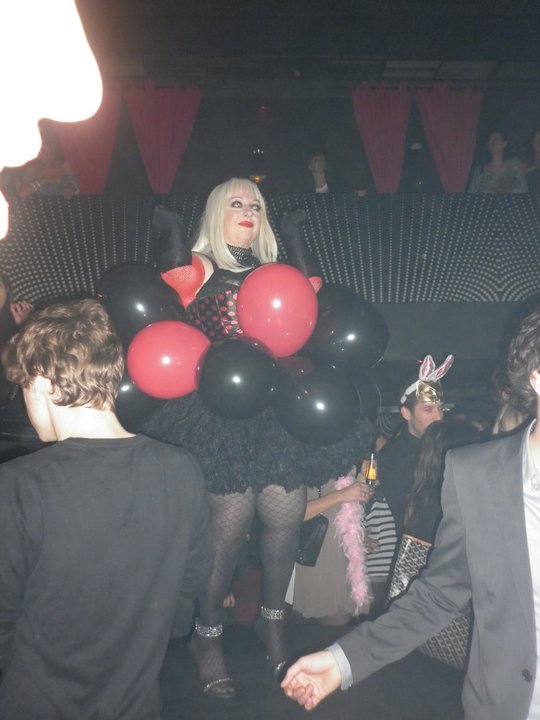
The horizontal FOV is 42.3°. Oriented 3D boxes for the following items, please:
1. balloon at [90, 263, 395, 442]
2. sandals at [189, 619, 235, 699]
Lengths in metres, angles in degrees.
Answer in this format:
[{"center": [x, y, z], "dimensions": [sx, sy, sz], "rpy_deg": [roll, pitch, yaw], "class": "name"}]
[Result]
[{"center": [-0.148, -0.176, 2.242], "dimensions": [0.875, 0.493, 0.264], "rpy_deg": [-15, 16, -20], "class": "balloon"}, {"center": [-0.192, 1.012, 2.309], "dimensions": [0.143, 0.246, 0.130], "rpy_deg": [-5, 19, -29], "class": "sandals"}]
